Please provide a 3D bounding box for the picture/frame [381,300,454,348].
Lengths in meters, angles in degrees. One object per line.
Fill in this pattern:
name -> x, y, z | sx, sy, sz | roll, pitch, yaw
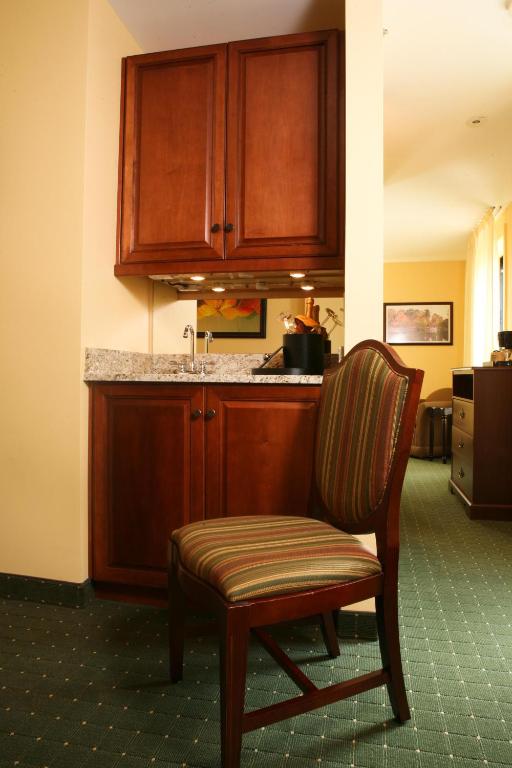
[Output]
picture/frame -> 2.061, -0.738, 7.532 | 0.821, 0.642, 0.037 | 1, -1, 6

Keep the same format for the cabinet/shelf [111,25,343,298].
cabinet/shelf -> -0.110, -0.847, 2.232 | 0.897, 0.922, 0.391 | 2, 5, 15

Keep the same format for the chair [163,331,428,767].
chair -> 0.085, 0.342, 1.392 | 0.509, 0.873, 0.414 | -2, 5, -26

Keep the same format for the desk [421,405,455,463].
desk -> 1.815, 0.484, 6.048 | 0.373, 0.493, 0.395 | 10, -4, 9
